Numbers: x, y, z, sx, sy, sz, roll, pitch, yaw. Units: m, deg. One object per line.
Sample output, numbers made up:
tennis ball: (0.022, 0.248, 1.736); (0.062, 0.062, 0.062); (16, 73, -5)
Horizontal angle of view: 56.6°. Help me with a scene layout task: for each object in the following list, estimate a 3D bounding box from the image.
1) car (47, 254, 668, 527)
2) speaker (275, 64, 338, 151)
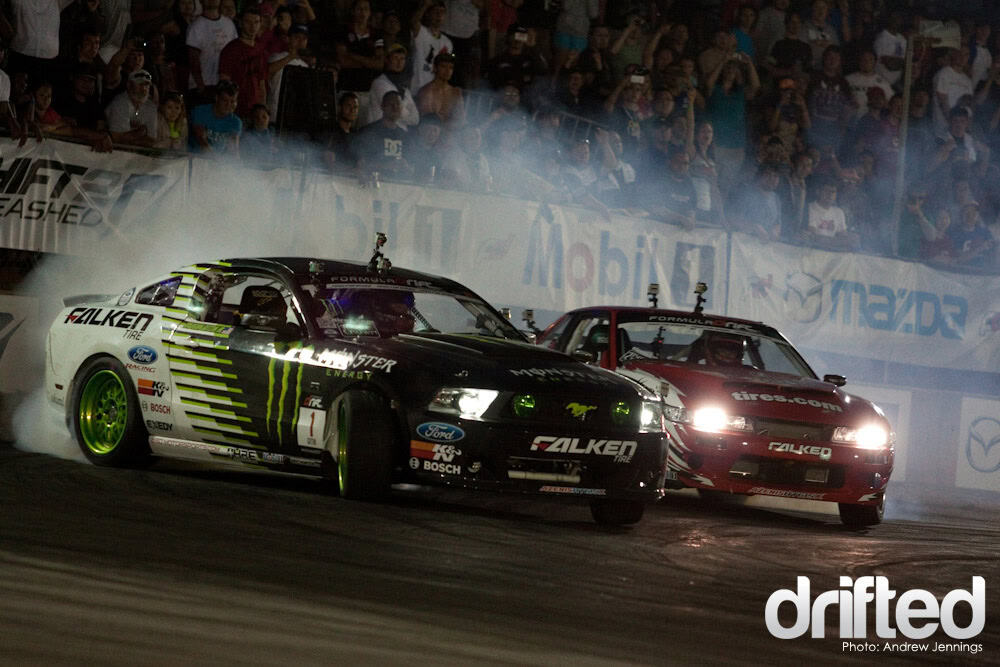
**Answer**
car: (-1.280, 0.390, 7.085); (4.107, 1.406, 2.224); (3, -2, 35)
speaker: (-2.673, -3.112, 12.500); (0.815, 0.857, 0.606); (4, 5, -20)
